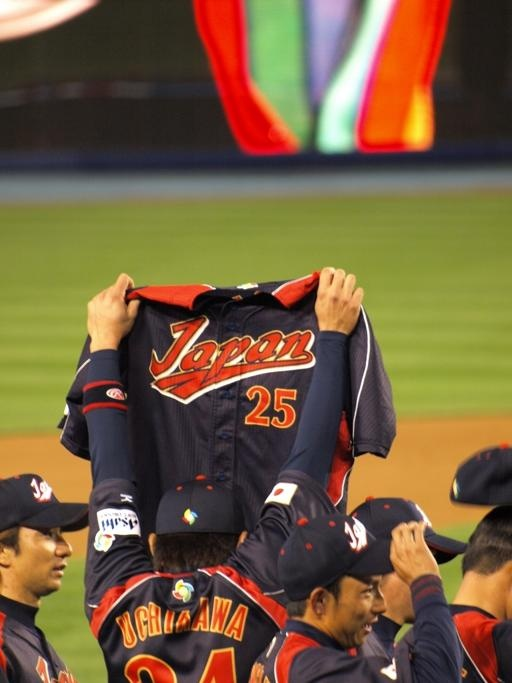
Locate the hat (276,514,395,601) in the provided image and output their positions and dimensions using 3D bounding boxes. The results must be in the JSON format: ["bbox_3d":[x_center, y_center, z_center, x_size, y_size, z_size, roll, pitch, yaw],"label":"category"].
[{"bbox_3d":[0.210,0.543,3.644,0.341,0.173,0.209,-12,17,5],"label":"hat"}]

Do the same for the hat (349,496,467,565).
[{"bbox_3d":[0.437,0.573,4.095,0.406,0.187,0.249,8,-20,-3],"label":"hat"}]
